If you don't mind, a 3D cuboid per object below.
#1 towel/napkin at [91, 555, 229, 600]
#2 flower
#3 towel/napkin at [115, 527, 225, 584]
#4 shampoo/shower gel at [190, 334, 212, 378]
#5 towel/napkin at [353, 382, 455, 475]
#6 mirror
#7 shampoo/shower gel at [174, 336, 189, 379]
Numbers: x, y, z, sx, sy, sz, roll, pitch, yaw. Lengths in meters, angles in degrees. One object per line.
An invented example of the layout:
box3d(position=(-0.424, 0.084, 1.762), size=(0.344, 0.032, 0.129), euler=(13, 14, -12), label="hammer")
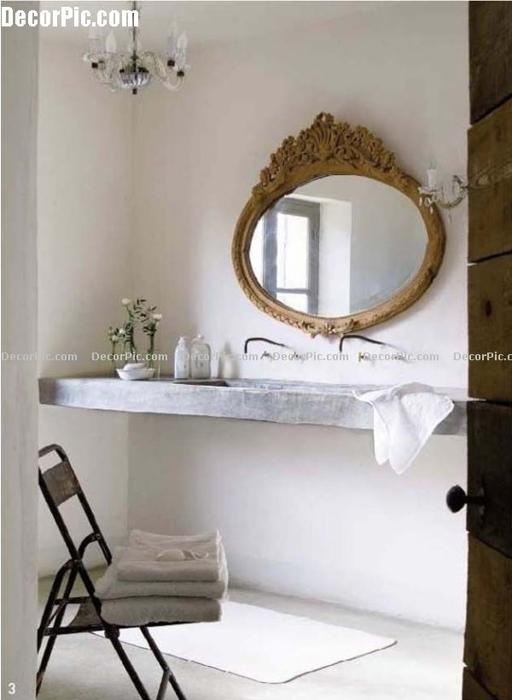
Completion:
box3d(position=(-0.217, 0.534, 1.992), size=(0.298, 0.046, 0.177), euler=(-1, 3, 0), label="towel/napkin")
box3d(position=(-0.495, -0.079, 3.509), size=(0.236, 0.419, 0.188), euler=(2, 4, 42), label="flower")
box3d(position=(-0.203, 0.511, 2.138), size=(0.242, 0.105, 0.323), euler=(1, -4, -3), label="towel/napkin")
box3d(position=(-0.208, 0.025, 3.212), size=(0.076, 0.158, 0.090), euler=(-1, 3, -8), label="shampoo/shower gel")
box3d(position=(0.398, 0.203, 2.335), size=(0.237, 0.217, 0.264), euler=(-1, 3, -3), label="towel/napkin")
box3d(position=(0.305, -0.424, 2.894), size=(0.775, 0.756, 0.057), euler=(0, -4, 45), label="mirror")
box3d(position=(-0.280, 0.025, 3.253), size=(0.059, 0.153, 0.181), euler=(-1, 3, -5), label="shampoo/shower gel")
